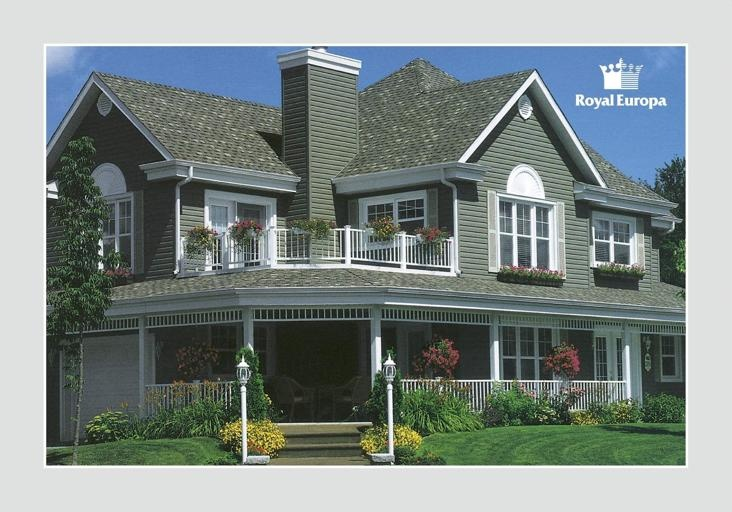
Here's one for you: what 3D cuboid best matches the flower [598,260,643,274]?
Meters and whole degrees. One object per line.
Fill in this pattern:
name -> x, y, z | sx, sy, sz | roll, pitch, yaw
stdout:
flower -> 10.195, 0.469, 55.568 | 2.194, 0.496, 0.424 | 2, -12, -29

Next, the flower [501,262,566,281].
flower -> 6.240, 0.613, 52.481 | 3.085, 0.587, 0.478 | 3, -11, -28

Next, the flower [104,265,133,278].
flower -> -9.337, 0.645, 51.406 | 1.091, 0.690, 0.511 | -3, -10, 19

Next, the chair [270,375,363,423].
chair -> -1.613, 5.083, 48.601 | 2.913, 1.741, 1.715 | -6, -7, 24

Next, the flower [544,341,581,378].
flower -> 7.226, 3.906, 50.882 | 1.152, 1.376, 0.744 | -3, -10, 17

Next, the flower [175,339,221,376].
flower -> -6.033, 3.745, 48.936 | 1.352, 1.269, 0.907 | 0, -10, 0
